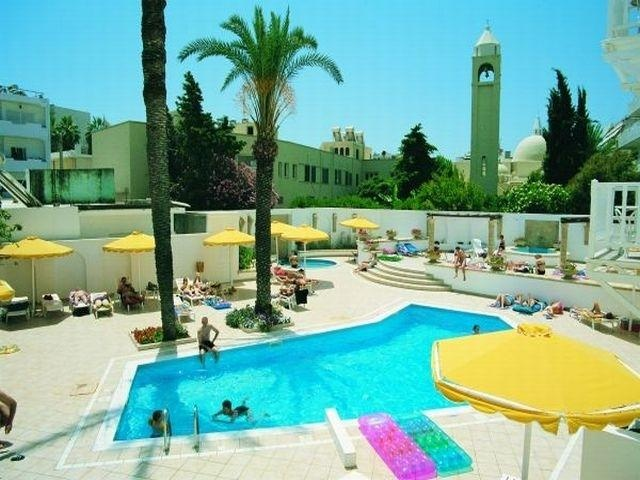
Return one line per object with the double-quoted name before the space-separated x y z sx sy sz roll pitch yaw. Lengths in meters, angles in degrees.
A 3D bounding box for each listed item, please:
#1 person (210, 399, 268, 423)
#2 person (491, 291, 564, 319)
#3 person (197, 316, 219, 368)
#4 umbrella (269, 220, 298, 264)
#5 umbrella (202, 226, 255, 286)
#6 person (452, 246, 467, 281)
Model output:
"person" -2.372 4.977 16.049 1.123 0.556 0.727 2 -5 -37
"person" 9.035 2.870 24.114 1.306 0.591 1.782 -5 13 -36
"person" -3.869 3.313 19.218 0.696 1.482 1.783 -2 3 -12
"umbrella" -2.025 0.315 29.924 2.160 3.041 2.331 0 3 -3
"umbrella" -4.492 0.806 26.387 2.455 3.086 2.640 8 12 9
"person" 7.034 1.171 27.912 0.682 1.618 1.507 -1 3 14
